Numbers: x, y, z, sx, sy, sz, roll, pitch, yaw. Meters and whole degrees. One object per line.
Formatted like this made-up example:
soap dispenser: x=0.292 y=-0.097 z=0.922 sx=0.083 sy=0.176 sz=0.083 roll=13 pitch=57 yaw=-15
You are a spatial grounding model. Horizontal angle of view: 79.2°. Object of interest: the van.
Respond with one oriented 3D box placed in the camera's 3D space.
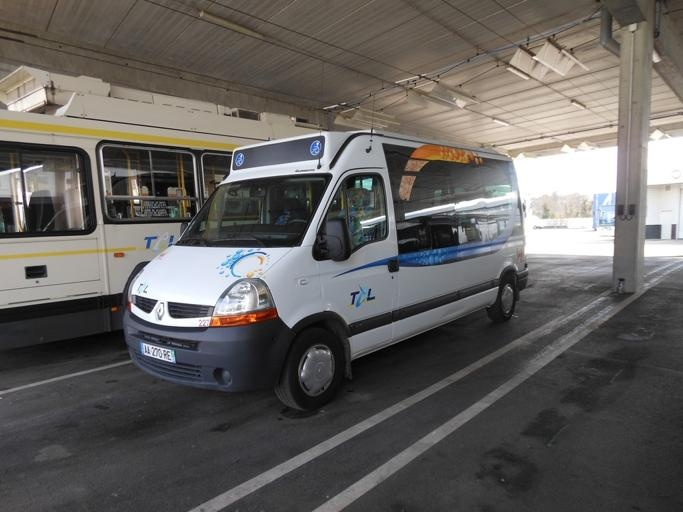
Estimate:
van: x=0.523 y=-0.130 z=6.474 sx=6.993 sy=3.355 sz=2.244 roll=-10 pitch=12 yaw=-40
